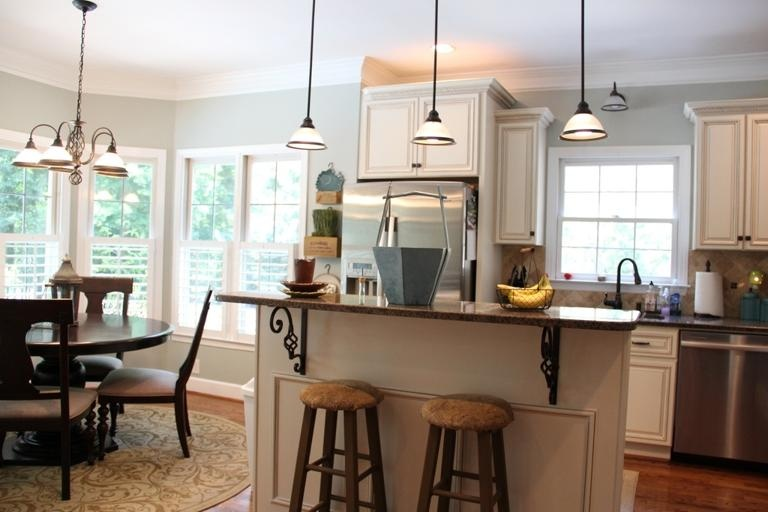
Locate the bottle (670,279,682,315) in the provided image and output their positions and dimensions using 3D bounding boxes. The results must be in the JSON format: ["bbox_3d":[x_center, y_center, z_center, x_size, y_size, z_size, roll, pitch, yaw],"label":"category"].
[{"bbox_3d":[2.669,0.401,5.406,0.125,0.244,0.239,6,10,25],"label":"bottle"}]

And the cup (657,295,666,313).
[{"bbox_3d":[2.524,0.432,5.377,0.073,0.140,0.034,7,11,31],"label":"cup"}]

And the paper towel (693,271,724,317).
[{"bbox_3d":[2.923,0.334,5.320,0.255,0.394,0.245,7,11,30],"label":"paper towel"}]

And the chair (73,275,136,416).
[{"bbox_3d":[-2.947,0.704,5.865,0.663,1.099,0.686,7,0,-40],"label":"chair"}]

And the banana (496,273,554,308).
[{"bbox_3d":[0.867,0.220,3.634,0.315,0.188,0.192,2,-4,8],"label":"banana"}]

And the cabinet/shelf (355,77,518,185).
[{"bbox_3d":[0.528,-1.157,5.871,1.451,0.936,0.796,3,2,27],"label":"cabinet/shelf"}]

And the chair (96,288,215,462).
[{"bbox_3d":[-1.939,0.988,5.021,0.894,1.210,0.708,2,0,-10],"label":"chair"}]

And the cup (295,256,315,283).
[{"bbox_3d":[-0.544,0.092,3.939,0.156,0.171,0.158,1,-4,0],"label":"cup"}]

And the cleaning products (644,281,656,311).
[{"bbox_3d":[2.468,0.369,5.460,0.113,0.262,0.193,5,10,20],"label":"cleaning products"}]

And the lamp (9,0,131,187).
[{"bbox_3d":[-2.897,-1.420,5.439,0.936,1.577,2.062,-3,10,-23],"label":"lamp"}]
